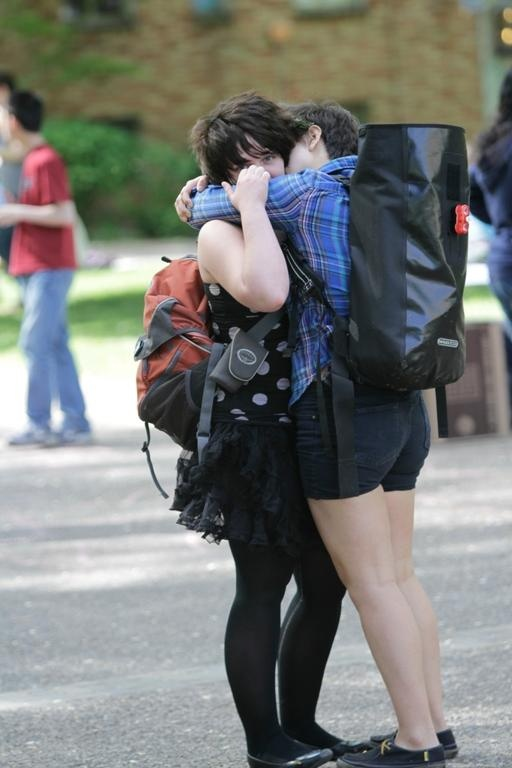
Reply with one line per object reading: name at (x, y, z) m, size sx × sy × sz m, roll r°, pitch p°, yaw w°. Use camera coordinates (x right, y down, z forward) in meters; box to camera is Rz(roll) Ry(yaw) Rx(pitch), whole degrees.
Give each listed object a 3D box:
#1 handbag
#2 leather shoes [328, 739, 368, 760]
handbag at (-0.140, -0.015, 2.432) m, size 0.472 × 0.617 × 0.469 m, roll 1°, pitch -23°, yaw -3°
leather shoes at (0.238, 0.928, 2.361) m, size 0.125 × 0.040 × 0.041 m, roll -1°, pitch -14°, yaw -18°
